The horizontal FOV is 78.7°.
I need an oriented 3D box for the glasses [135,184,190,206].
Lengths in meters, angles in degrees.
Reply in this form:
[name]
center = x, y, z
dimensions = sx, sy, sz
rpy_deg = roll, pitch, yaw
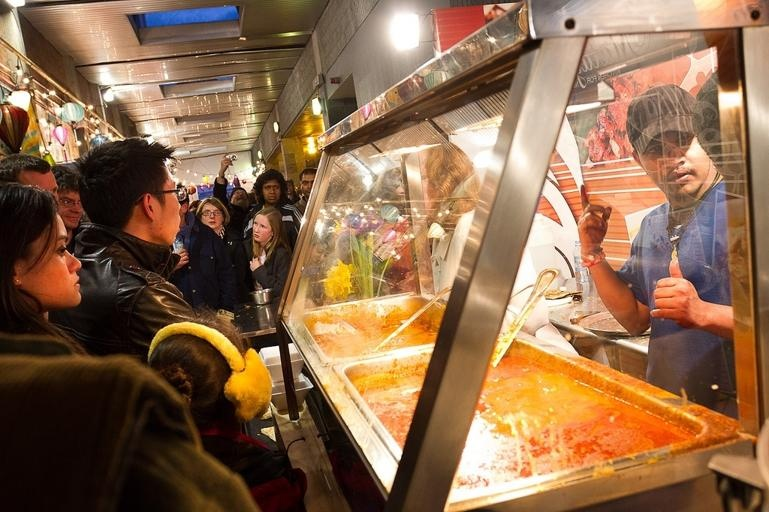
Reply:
[glasses]
center = -0.861, -0.261, 1.834
dimensions = 0.150, 0.043, 0.141
rpy_deg = -8, 6, -18

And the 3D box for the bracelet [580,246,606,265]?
[bracelet]
center = 0.512, -0.001, 1.146
dimensions = 0.041, 0.030, 0.051
rpy_deg = -14, -12, -11
